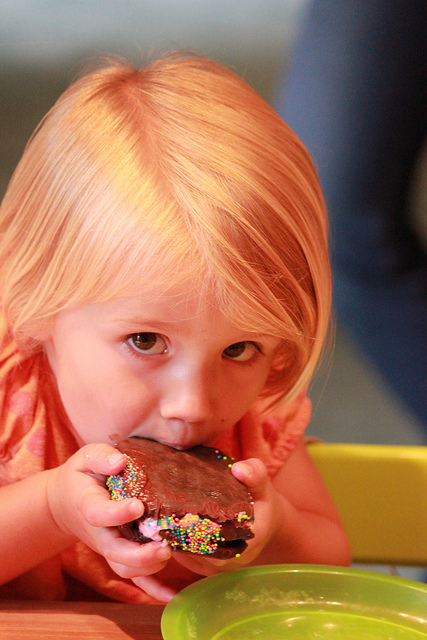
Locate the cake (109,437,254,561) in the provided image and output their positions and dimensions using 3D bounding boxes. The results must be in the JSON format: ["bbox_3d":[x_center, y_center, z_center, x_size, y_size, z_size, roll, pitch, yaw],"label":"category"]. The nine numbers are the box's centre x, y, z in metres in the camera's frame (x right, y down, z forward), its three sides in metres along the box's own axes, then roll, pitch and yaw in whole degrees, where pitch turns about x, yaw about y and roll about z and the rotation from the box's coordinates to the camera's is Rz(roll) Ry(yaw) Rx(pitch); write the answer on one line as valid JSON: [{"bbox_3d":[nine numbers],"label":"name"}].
[{"bbox_3d":[-0.041,0.202,0.747,0.167,0.126,0.177,-1,49,-3],"label":"cake"}]
